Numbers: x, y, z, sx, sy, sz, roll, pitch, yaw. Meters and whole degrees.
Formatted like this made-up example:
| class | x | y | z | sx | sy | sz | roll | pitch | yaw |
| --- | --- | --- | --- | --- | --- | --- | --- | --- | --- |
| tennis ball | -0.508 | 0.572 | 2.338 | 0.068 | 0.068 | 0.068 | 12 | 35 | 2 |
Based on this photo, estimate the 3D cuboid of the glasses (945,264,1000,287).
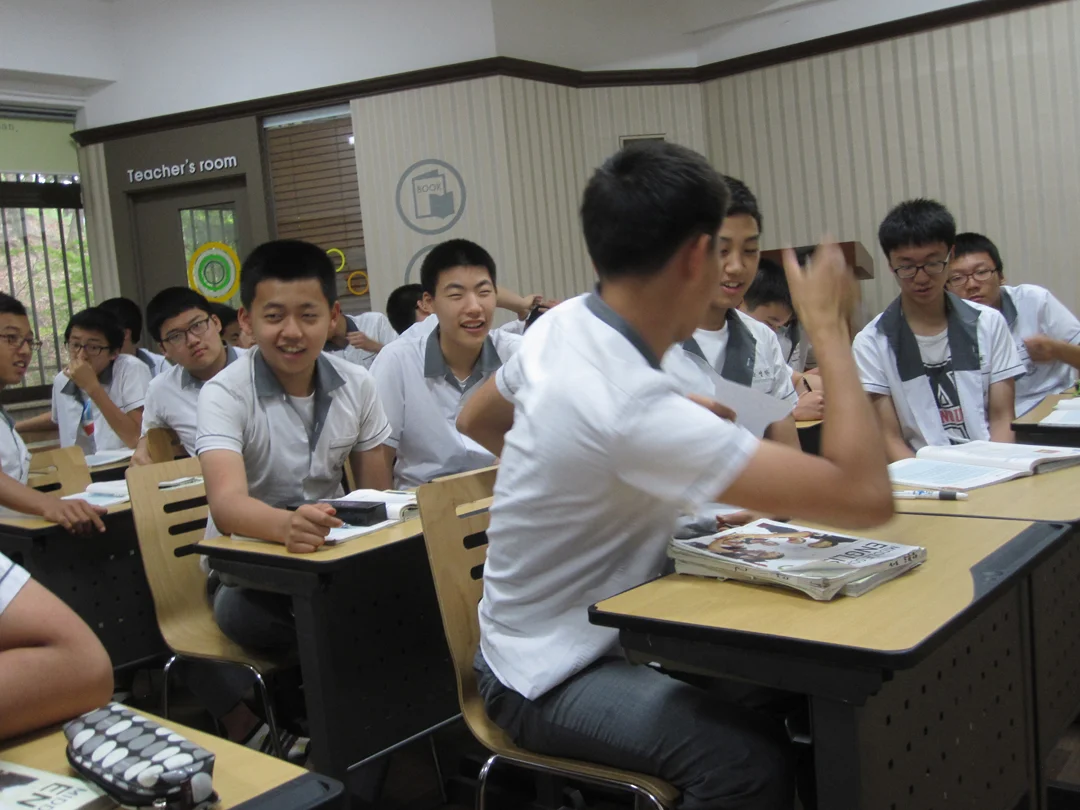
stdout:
| class | x | y | z | sx | sy | sz | roll | pitch | yaw |
| --- | --- | --- | --- | --- | --- | --- | --- | --- | --- |
| glasses | 1.911 | -0.571 | 3.417 | 0.193 | 0.061 | 0.200 | -5 | -2 | 8 |
